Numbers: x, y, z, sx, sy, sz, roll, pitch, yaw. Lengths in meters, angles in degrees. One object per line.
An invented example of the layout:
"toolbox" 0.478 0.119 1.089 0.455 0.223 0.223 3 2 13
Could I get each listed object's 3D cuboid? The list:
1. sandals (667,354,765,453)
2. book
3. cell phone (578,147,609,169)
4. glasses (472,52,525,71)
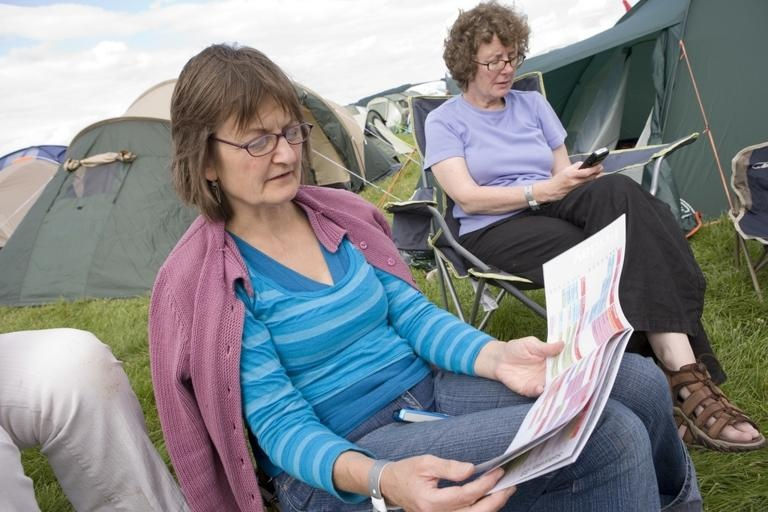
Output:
"sandals" 1.353 0.617 2.297 0.222 0.250 0.469 -25 28 -38
"book" 0.597 0.341 1.670 0.877 0.208 0.564 -58 8 -23
"cell phone" 1.032 -0.480 2.613 0.123 0.028 0.121 -19 -13 -30
"glasses" 0.625 -1.081 2.920 0.137 0.040 0.137 -17 14 -28
